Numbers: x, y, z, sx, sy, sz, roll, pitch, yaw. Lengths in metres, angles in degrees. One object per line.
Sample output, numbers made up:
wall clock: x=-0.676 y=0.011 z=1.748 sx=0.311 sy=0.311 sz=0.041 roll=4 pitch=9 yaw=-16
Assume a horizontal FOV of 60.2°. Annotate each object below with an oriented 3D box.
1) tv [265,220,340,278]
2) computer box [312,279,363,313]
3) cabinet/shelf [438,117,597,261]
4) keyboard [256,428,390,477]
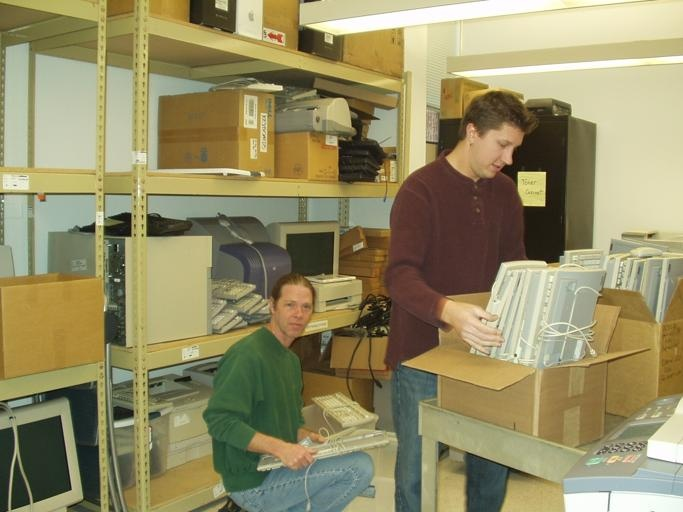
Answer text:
tv: x=-0.265 y=0.009 z=3.752 sx=0.417 sy=0.340 sz=0.213 roll=-1 pitch=-4 yaw=-35
computer box: x=-0.022 y=0.190 z=3.667 sx=0.196 sy=0.141 sz=0.287 roll=5 pitch=8 yaw=44
cabinet/shelf: x=1.627 y=-0.517 z=4.751 sx=0.685 sy=1.101 sz=0.654 roll=-7 pitch=12 yaw=7
keyboard: x=-0.052 y=0.785 z=2.444 sx=0.607 sy=0.051 sz=0.196 roll=-8 pitch=11 yaw=-23
